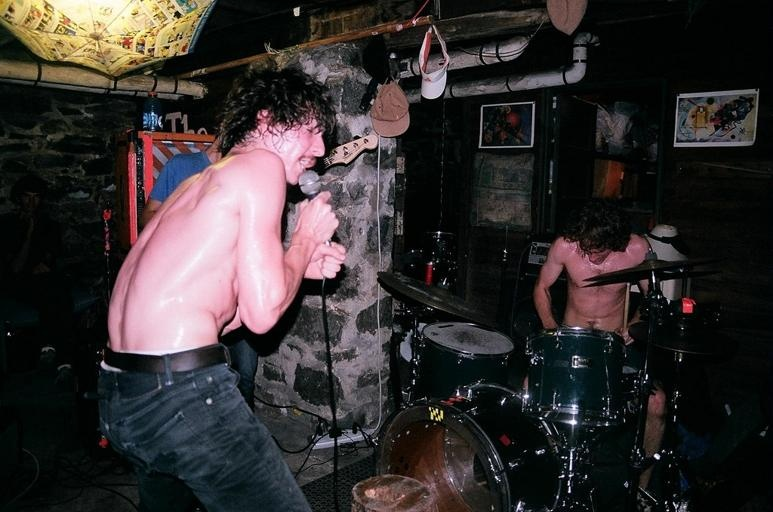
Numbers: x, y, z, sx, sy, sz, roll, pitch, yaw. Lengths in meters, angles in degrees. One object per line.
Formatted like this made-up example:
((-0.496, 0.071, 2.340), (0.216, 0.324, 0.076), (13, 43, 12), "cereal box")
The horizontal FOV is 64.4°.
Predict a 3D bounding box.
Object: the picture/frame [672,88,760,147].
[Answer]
((3.361, -1.411, 6.184), (0.712, 0.476, 0.028), (4, 5, 39), "picture/frame")

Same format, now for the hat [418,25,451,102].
((0.433, -1.726, 5.560), (0.353, 0.589, 0.169), (15, 22, 40), "hat")

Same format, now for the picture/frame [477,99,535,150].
((1.563, -1.718, 8.005), (0.036, 0.560, 0.831), (-12, 15, -42), "picture/frame")

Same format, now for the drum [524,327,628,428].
((1.691, 1.022, 5.027), (0.996, 0.693, 0.933), (9, -18, 3), "drum")

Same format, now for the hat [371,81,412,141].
((0.065, -1.366, 5.618), (0.132, 0.325, 0.450), (43, 15, -37), "hat")

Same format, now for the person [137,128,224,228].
((-1.775, -0.661, 5.153), (0.845, 0.758, 0.286), (11, 12, 16), "person")

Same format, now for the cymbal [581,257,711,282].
((2.077, 0.128, 4.841), (0.475, 0.075, 0.454), (-10, 0, -26), "cymbal")
